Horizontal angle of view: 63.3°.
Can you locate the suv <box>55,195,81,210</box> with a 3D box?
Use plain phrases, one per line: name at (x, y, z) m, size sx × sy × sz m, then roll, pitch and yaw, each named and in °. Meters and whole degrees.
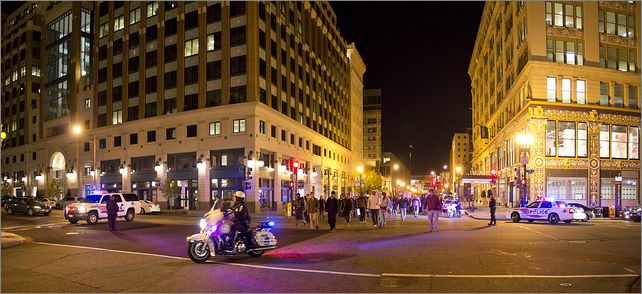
suv at (-48.387, 10.698, 99.645) m, size 5.217 × 2.314 × 2.998 m, roll 3°, pitch 0°, yaw 10°
